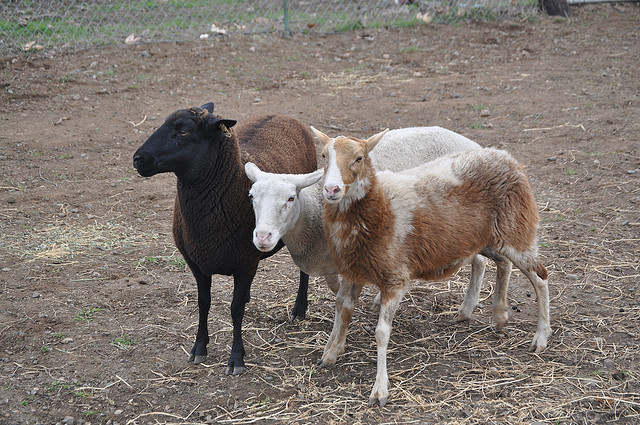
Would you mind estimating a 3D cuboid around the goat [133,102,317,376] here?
[{"bbox_3d":[-1.174,0.234,9.105,1.284,3.253,2.071,8,19,27],"label":"goat"}]
